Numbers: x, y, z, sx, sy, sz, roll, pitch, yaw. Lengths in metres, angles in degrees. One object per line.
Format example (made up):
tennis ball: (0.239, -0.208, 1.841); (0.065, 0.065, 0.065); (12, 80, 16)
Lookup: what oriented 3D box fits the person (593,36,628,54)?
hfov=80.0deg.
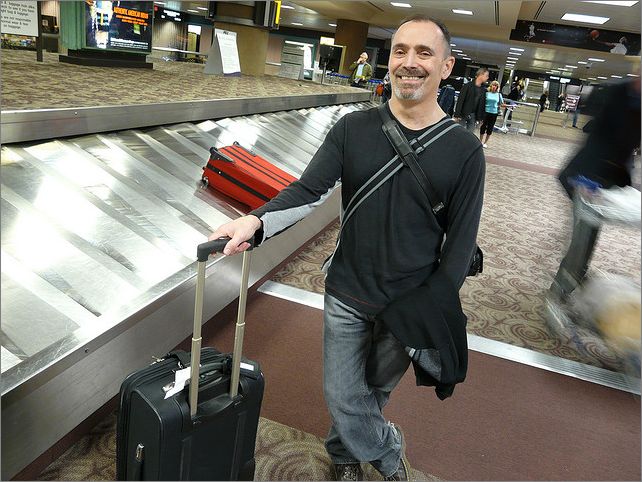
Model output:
person: (11.522, -7.798, 14.998); (1.078, 0.616, 0.264); (15, 27, 12)

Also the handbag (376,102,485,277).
handbag: (0.300, -0.252, 1.314); (0.111, 0.369, 0.346); (-17, 36, -42)
